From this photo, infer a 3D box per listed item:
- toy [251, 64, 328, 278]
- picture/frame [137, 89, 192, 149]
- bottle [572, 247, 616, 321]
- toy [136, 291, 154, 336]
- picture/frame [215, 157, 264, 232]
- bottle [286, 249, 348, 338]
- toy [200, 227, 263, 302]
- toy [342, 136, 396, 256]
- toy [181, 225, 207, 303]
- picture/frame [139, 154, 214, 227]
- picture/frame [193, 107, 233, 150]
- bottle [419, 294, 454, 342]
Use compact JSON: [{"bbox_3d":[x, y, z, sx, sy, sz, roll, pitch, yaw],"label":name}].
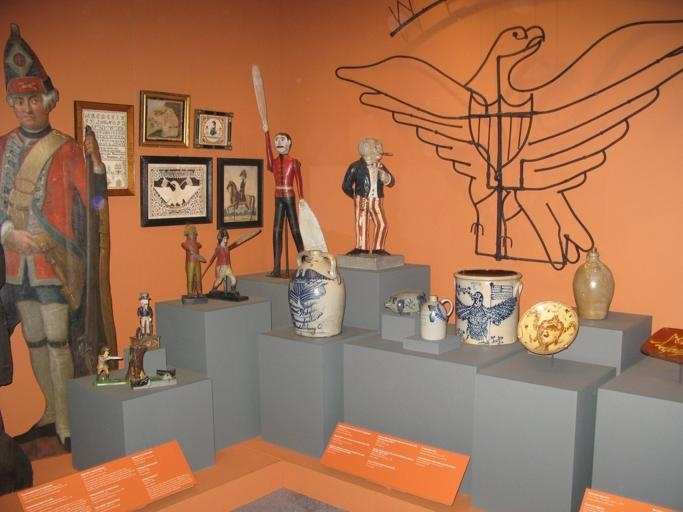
[{"bbox_3d":[-0.442,-0.729,5.069,0.587,1.785,0.801,-1,5,-14],"label":"toy"},{"bbox_3d":[-1.393,-1.060,4.684,0.037,0.493,0.460,6,8,42],"label":"picture/frame"},{"bbox_3d":[1.639,0.175,3.910,0.239,0.450,0.247,-10,11,2],"label":"bottle"},{"bbox_3d":[-1.303,0.376,4.000,0.092,0.272,0.177,-1,5,-19],"label":"toy"},{"bbox_3d":[-0.898,-0.545,5.205,0.032,0.785,0.561,10,14,38],"label":"picture/frame"},{"bbox_3d":[-0.175,0.257,4.340,0.389,0.613,0.394,-2,3,0],"label":"bottle"},{"bbox_3d":[-0.868,0.062,4.653,0.363,0.529,0.261,0,5,-2],"label":"toy"},{"bbox_3d":[0.208,-0.457,4.737,0.389,0.874,0.244,1,5,7],"label":"toy"},{"bbox_3d":[-1.107,0.041,4.529,0.161,0.537,0.307,-1,5,-14],"label":"toy"},{"bbox_3d":[-1.331,-0.522,4.776,0.525,0.530,0.037,-10,14,-43],"label":"picture/frame"},{"bbox_3d":[-1.075,-1.045,4.983,0.049,0.323,0.352,4,5,42],"label":"picture/frame"},{"bbox_3d":[0.626,0.399,3.994,0.232,0.280,0.212,0,5,0],"label":"bottle"}]
